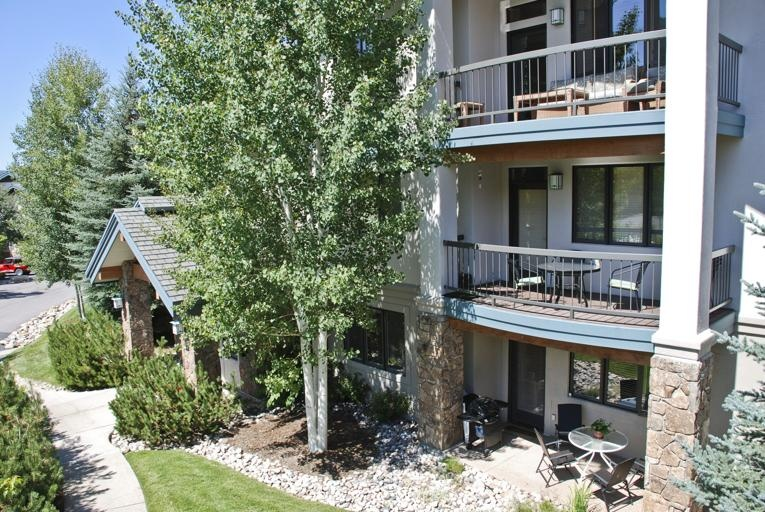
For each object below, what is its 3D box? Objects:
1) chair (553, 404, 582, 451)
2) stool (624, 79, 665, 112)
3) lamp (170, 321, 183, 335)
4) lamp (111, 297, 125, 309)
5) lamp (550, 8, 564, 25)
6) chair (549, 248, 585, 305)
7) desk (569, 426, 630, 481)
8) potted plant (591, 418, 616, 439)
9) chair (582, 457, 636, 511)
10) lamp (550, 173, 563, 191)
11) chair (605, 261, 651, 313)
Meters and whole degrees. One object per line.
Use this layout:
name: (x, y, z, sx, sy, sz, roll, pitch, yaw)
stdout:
chair: (5.719, 5.429, 19.575, 0.820, 1.245, 0.670, 12, -1, 45)
stool: (7.366, -4.558, 17.695, 1.017, 0.959, 1.807, 1, 1, 22)
lamp: (-6.999, 2.449, 21.309, 0.282, 0.453, 0.899, 0, 2, -22)
lamp: (-11.352, 1.977, 26.877, 0.530, 0.659, 0.589, 1, 4, -31)
lamp: (5.661, -7.778, 20.348, 0.321, 0.607, 0.457, -5, 8, -41)
chair: (5.779, 0.736, 19.387, 1.262, 1.617, 1.345, -2, 1, -22)
desk: (6.394, 5.930, 18.981, 1.392, 1.053, 1.499, -5, 26, 3)
potted plant: (6.508, 5.111, 18.743, 0.517, 0.494, 0.566, -2, -1, -1)
chair: (6.443, 6.514, 17.785, 0.808, 1.251, 0.830, -23, 18, -18)
lamp: (5.617, -2.424, 20.339, 0.449, 0.563, 0.274, 1, 2, 16)
chair: (7.187, 0.837, 18.376, 1.052, 1.344, 2.164, 1, 2, 24)
